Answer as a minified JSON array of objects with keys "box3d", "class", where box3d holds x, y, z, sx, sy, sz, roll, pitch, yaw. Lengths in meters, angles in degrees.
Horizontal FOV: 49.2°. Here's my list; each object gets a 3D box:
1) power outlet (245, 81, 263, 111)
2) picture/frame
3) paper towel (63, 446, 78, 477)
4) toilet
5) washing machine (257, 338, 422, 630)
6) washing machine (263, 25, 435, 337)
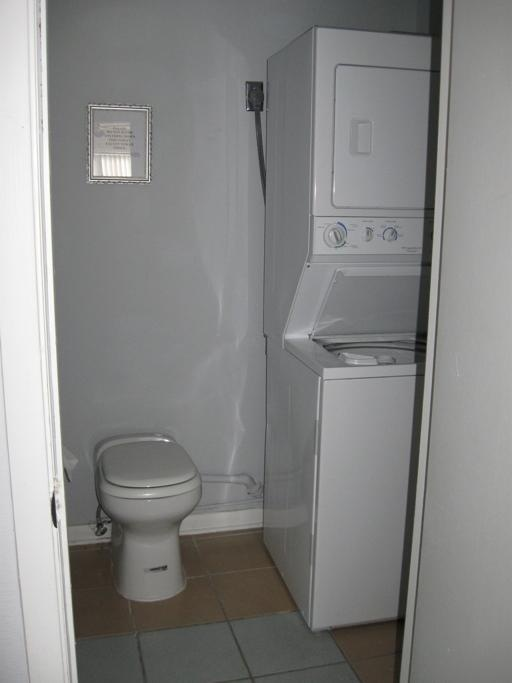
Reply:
[{"box3d":[-0.010,-0.974,2.205,0.093,0.160,0.015,-2,11,-8],"class":"power outlet"},{"box3d":[-0.519,-0.751,2.124,0.241,0.306,0.026,-9,48,-24],"class":"picture/frame"},{"box3d":[-0.757,0.488,2.292,0.082,0.104,0.024,-22,21,-32],"class":"paper towel"},{"box3d":[-0.427,0.662,2.161,0.321,0.538,0.540,-4,10,-25],"class":"toilet"},{"box3d":[0.261,0.350,2.421,0.661,1.475,0.949,0,5,-12],"class":"washing machine"},{"box3d":[0.344,-0.518,2.024,0.510,1.042,0.559,-1,9,-14],"class":"washing machine"}]
